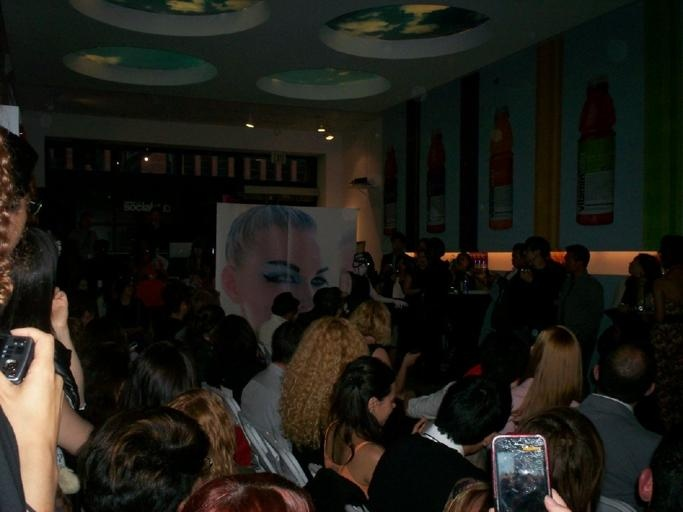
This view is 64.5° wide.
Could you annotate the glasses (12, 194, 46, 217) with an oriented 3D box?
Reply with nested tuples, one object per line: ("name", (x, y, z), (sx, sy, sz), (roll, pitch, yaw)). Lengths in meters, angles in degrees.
("glasses", (-0.952, -0.149, 1.636), (0.062, 0.045, 0.016), (20, 33, -31))
